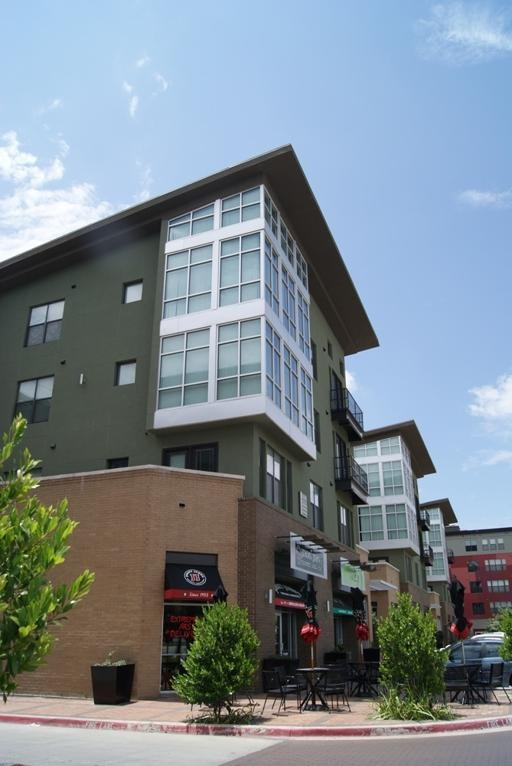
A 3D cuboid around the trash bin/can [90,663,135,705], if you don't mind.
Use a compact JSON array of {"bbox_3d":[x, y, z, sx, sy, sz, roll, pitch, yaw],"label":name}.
[{"bbox_3d":[-3.685,7.648,13.968,1.045,0.900,0.702,6,-23,-16],"label":"trash bin/can"}]
